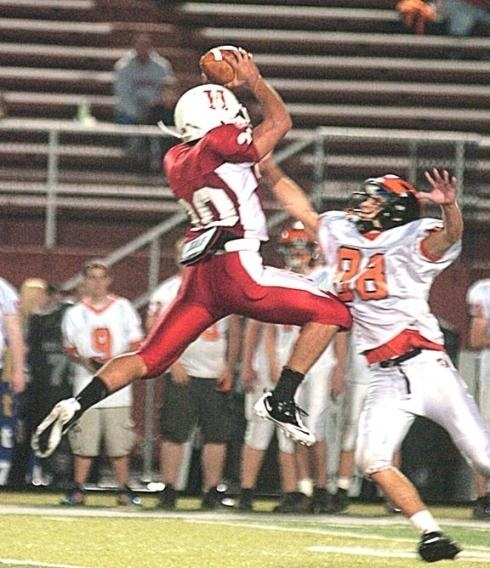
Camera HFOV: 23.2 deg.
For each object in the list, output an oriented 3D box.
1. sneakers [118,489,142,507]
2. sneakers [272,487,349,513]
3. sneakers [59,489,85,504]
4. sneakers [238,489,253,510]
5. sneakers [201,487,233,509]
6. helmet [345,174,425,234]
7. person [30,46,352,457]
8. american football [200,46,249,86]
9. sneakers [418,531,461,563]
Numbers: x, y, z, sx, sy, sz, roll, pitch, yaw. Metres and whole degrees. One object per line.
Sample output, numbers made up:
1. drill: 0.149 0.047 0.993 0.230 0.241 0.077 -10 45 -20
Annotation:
1. sneakers: -0.592 1.114 6.102 0.147 0.072 0.066 6 -6 -5
2. sneakers: 0.363 1.141 6.203 0.437 0.133 0.128 6 -11 -17
3. sneakers: -0.861 1.099 6.075 0.061 0.057 0.160 6 -7 -38
4. sneakers: 0.010 1.123 6.120 0.085 0.100 0.117 7 -5 -1
5. sneakers: -0.136 1.110 6.126 0.166 0.106 0.228 1 -2 -1
6. helmet: 0.572 -0.370 5.164 0.371 0.233 0.242 -2 5 -29
7. person: -0.145 -0.181 4.946 1.179 1.692 0.248 1 -3 3
8. american football: -0.085 -0.957 5.090 0.158 0.080 0.197 26 32 4
9. sneakers: 0.752 1.050 4.717 0.192 0.101 0.100 -15 1 -8
